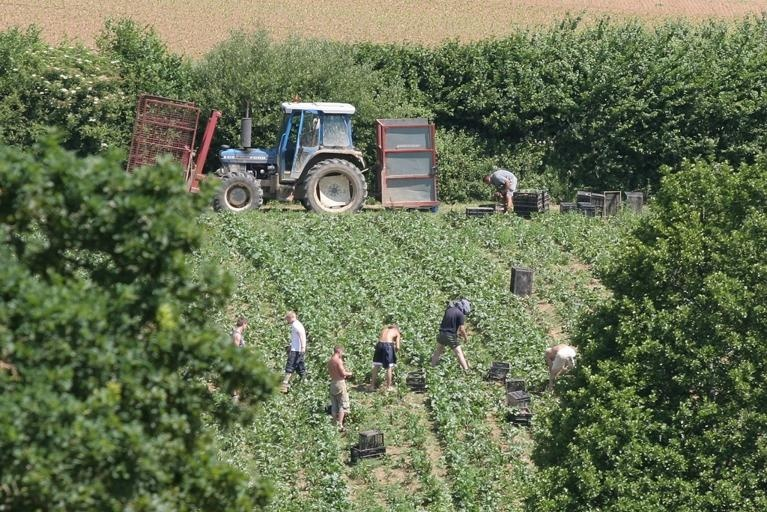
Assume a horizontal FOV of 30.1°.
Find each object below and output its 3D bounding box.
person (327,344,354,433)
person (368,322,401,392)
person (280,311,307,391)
[{"bbox_3d":[-1.313,3.797,41.072,0.700,2.340,0.600,10,16,19],"label":"person"},{"bbox_3d":[0.028,2.999,42.327,0.756,1.803,0.799,4,15,-1],"label":"person"},{"bbox_3d":[-2.597,2.826,41.968,0.664,2.229,0.625,3,15,-4],"label":"person"}]
